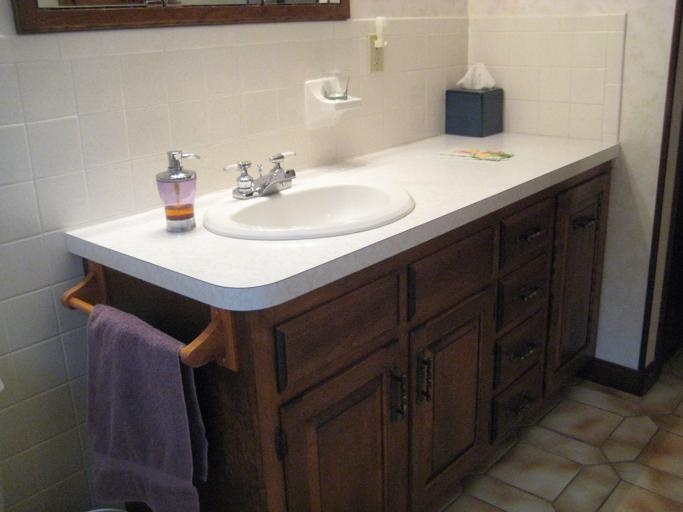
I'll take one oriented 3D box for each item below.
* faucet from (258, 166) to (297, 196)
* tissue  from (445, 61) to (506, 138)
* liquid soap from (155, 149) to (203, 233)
[{"bbox_3d":[-0.184,-0.228,1.717,0.114,0.046,0.069,-21,36,-36],"label":"faucet"},{"bbox_3d":[0.595,-0.695,2.491,0.196,0.302,0.226,15,30,39],"label":"tissue "},{"bbox_3d":[-0.428,-0.168,1.496,0.099,0.210,0.116,-1,7,8],"label":"liquid soap"}]
